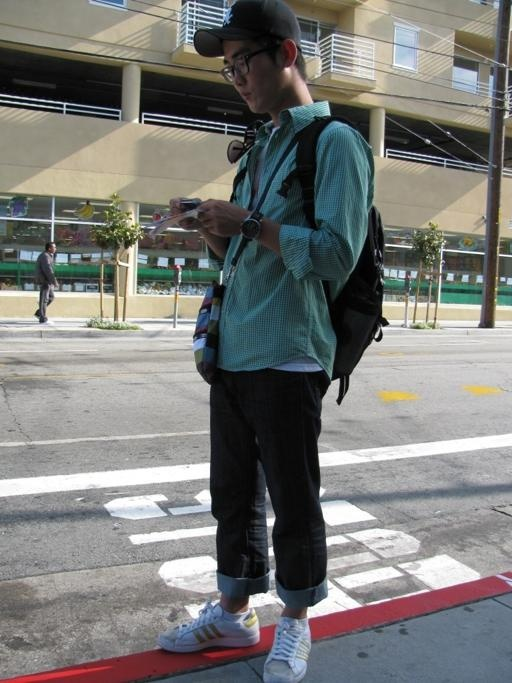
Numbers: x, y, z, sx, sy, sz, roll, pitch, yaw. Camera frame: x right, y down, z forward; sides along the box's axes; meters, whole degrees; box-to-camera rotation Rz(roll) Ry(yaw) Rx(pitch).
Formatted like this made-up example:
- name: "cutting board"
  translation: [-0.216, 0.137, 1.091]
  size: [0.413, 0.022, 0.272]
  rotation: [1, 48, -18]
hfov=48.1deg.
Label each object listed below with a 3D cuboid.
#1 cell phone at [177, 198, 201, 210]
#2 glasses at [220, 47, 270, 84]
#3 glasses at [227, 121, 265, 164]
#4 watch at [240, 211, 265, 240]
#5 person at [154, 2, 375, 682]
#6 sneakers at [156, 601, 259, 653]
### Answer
- name: "cell phone"
  translation: [-0.196, -0.416, 1.719]
  size: [0.075, 0.039, 0.027]
  rotation: [12, 7, 43]
- name: "glasses"
  translation: [-0.045, -0.809, 1.672]
  size: [0.116, 0.034, 0.114]
  rotation: [-35, 13, -12]
- name: "glasses"
  translation: [-0.031, -0.708, 2.041]
  size: [0.165, 0.162, 0.055]
  rotation: [28, -15, 47]
- name: "watch"
  translation: [-0.015, -0.308, 1.564]
  size: [0.051, 0.077, 0.073]
  rotation: [33, -5, -5]
- name: "person"
  translation: [0.032, 0.013, 1.780]
  size: [0.618, 2.068, 0.418]
  rotation: [4, 6, 30]
- name: "sneakers"
  translation: [-0.142, 0.973, 1.978]
  size: [0.401, 0.167, 0.129]
  rotation: [2, -11, -6]
